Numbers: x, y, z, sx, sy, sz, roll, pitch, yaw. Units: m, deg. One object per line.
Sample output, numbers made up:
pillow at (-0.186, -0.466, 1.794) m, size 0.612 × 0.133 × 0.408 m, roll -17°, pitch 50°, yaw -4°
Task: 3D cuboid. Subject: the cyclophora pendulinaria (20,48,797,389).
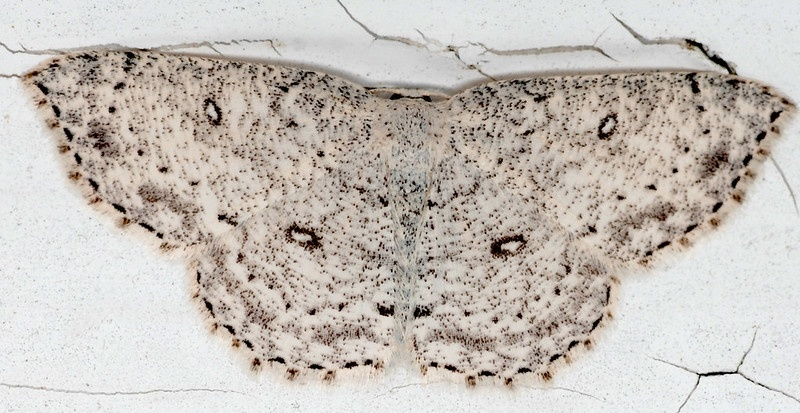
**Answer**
cyclophora pendulinaria at (0.086, -0.001, 8.267) m, size 5.207 × 0.373 × 1.990 m, roll 1°, pitch 91°, yaw 0°
